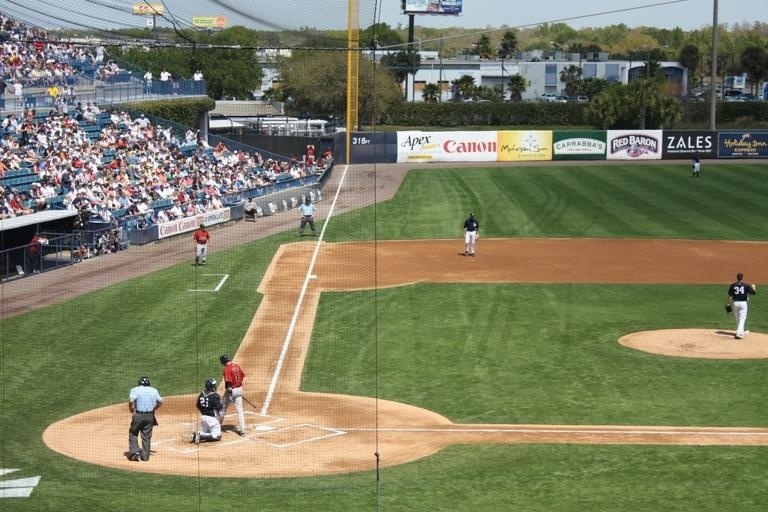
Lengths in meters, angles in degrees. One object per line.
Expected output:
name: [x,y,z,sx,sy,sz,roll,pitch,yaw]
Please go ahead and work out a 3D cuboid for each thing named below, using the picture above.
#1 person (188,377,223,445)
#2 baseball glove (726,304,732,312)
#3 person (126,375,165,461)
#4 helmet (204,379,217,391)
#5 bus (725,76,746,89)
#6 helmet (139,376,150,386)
person: [-7.983,6.967,66.930,1.530,2.935,1.119,-4,11,-22]
baseball glove: [17.267,2.533,74.050,0.460,0.402,0.132,-9,32,-11]
person: [-10.779,7.262,66.172,1.341,3.707,0.997,-7,12,-33]
helmet: [-7.782,5.718,66.807,0.588,0.559,0.434,-14,28,-41]
bus: [48.626,-24.451,204.567,3.753,2.153,3.628,2,15,12]
helmet: [-10.653,5.550,66.238,0.361,0.218,0.453,2,32,-6]
